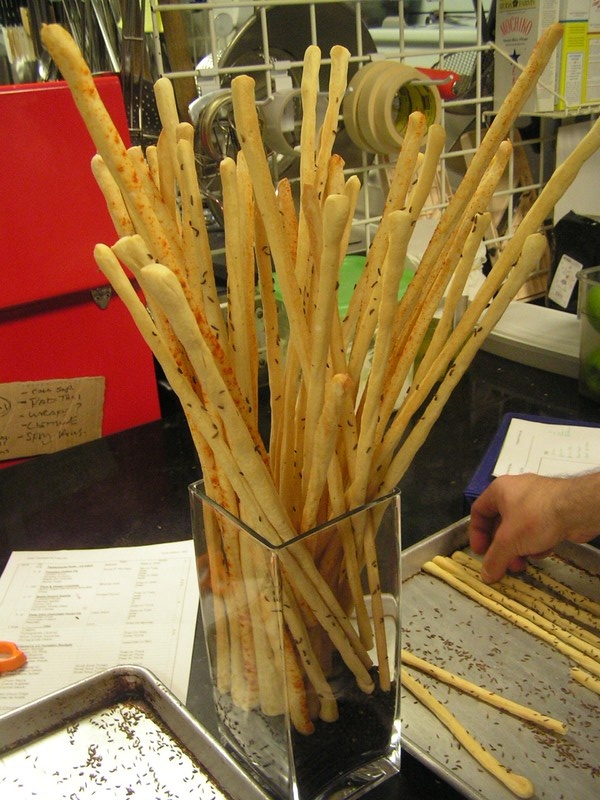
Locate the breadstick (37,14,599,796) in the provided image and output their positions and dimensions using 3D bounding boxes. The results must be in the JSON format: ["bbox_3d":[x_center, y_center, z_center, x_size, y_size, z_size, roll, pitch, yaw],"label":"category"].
[{"bbox_3d":[-0.031,-0.107,0.628,0.417,0.595,0.373,-21,37,-29],"label":"breadstick"}]

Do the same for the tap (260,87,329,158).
[{"bbox_3d":[-0.008,-0.440,1.098,0.101,0.106,0.099,-21,35,-31],"label":"tap"}]
